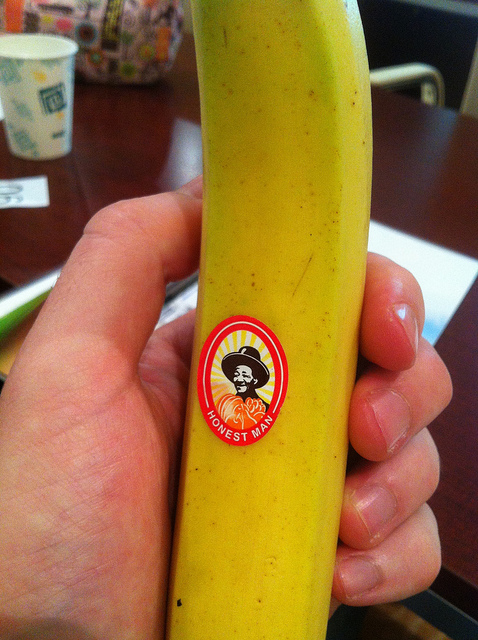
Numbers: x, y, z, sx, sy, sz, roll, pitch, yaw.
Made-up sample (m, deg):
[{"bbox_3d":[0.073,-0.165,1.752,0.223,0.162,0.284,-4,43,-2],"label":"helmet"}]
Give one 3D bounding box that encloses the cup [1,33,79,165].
[{"bbox_3d":[-0.327,-0.359,0.901,0.123,0.179,0.143,11,34,-9],"label":"cup"}]
